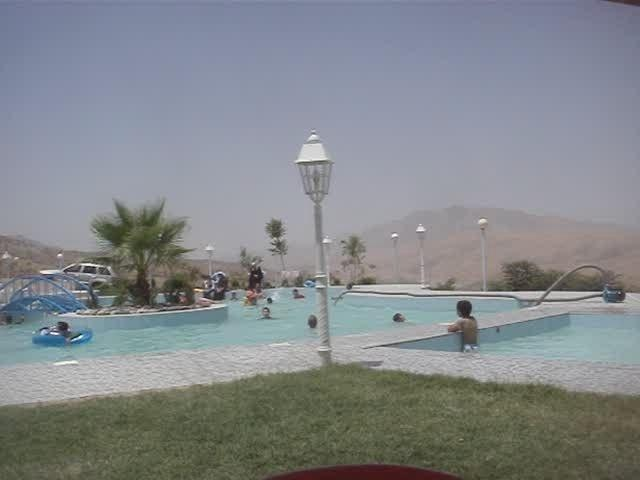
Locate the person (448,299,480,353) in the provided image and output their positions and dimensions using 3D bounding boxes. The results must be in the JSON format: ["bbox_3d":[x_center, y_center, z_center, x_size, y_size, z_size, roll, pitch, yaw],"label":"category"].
[{"bbox_3d":[3.209,1.932,11.750,0.607,1.162,0.928,-1,0,17],"label":"person"}]

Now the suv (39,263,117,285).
[{"bbox_3d":[-11.373,1.632,24.840,2.559,1.084,1.151,6,-4,-11],"label":"suv"}]

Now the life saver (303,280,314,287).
[{"bbox_3d":[-0.710,2.729,32.550,0.528,0.269,0.712,1,0,6],"label":"life saver"}]
